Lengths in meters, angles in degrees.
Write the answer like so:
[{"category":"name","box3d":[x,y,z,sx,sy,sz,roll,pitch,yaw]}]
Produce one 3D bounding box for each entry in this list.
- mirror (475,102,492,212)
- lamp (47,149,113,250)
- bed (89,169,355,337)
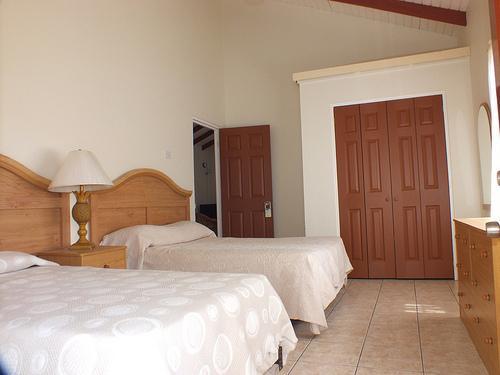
[{"category":"mirror","box3d":[2.874,-0.314,4.353,0.029,1.373,1.228,-2,24,40]},{"category":"lamp","box3d":[-1.500,0.096,3.183,0.406,0.842,0.545,3,2,25]},{"category":"bed","box3d":[-0.209,0.478,3.923,2.429,1.372,1.839,2,-1,21]}]
